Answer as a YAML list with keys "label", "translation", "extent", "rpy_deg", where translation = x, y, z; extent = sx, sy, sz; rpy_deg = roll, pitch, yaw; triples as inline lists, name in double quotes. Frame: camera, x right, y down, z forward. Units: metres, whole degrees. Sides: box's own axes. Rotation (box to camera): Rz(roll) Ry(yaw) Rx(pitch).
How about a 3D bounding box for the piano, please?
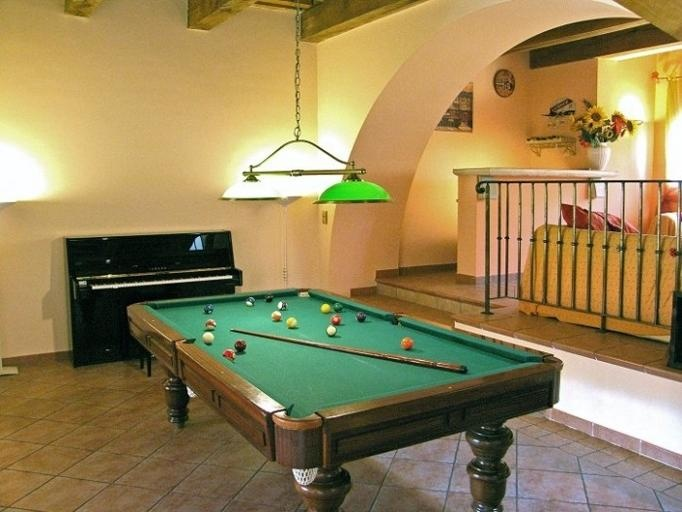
- label: "piano"
  translation: [-2.042, 0.458, 6.318]
  extent: [1.879, 1.389, 0.598]
  rpy_deg: [-4, -3, -3]

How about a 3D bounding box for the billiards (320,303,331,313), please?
- label: "billiards"
  translation: [-0.122, 0.417, 4.496]
  extent: [0.068, 0.049, 0.069]
  rpy_deg: [26, 33, 36]

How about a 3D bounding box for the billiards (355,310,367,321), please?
- label: "billiards"
  translation: [0.152, 0.438, 4.232]
  extent: [0.068, 0.043, 0.065]
  rpy_deg: [0, -2, -33]

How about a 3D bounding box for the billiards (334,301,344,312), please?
- label: "billiards"
  translation: [-0.017, 0.400, 4.506]
  extent: [0.059, 0.043, 0.063]
  rpy_deg: [5, 9, 35]

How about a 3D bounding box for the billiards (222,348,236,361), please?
- label: "billiards"
  translation: [-0.687, 0.608, 3.502]
  extent: [0.074, 0.057, 0.057]
  rpy_deg: [-15, 19, -36]

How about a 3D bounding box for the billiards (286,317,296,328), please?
- label: "billiards"
  translation: [-0.365, 0.479, 4.113]
  extent: [0.072, 0.063, 0.067]
  rpy_deg: [-7, 4, -6]

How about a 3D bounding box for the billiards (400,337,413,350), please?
- label: "billiards"
  translation: [0.418, 0.553, 3.590]
  extent: [0.078, 0.074, 0.068]
  rpy_deg: [-9, 8, 6]

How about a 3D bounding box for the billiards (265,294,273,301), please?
- label: "billiards"
  translation: [-0.623, 0.366, 4.910]
  extent: [0.048, 0.047, 0.056]
  rpy_deg: [1, -7, -12]

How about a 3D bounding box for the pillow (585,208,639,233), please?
- label: "pillow"
  translation: [2.633, -0.327, 5.504]
  extent: [0.515, 0.138, 0.477]
  rpy_deg: [7, 8, 35]

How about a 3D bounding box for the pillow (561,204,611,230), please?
- label: "pillow"
  translation: [2.324, -0.330, 5.335]
  extent: [0.381, 0.117, 0.413]
  rpy_deg: [5, 14, -9]

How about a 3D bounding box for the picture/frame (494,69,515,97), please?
- label: "picture/frame"
  translation: [2.587, -2.765, 8.961]
  extent: [0.487, 0.422, 0.066]
  rpy_deg: [-9, 10, -36]

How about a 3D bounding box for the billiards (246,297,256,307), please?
- label: "billiards"
  translation: [-0.767, 0.390, 4.796]
  extent: [0.064, 0.044, 0.078]
  rpy_deg: [3, -2, -6]

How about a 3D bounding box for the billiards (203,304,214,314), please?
- label: "billiards"
  translation: [-1.081, 0.418, 4.573]
  extent: [0.071, 0.075, 0.077]
  rpy_deg: [11, 13, 10]

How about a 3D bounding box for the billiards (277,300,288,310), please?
- label: "billiards"
  translation: [-0.468, 0.396, 4.531]
  extent: [0.076, 0.050, 0.065]
  rpy_deg: [-1, 7, -13]

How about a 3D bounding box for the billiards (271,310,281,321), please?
- label: "billiards"
  translation: [-0.481, 0.453, 4.314]
  extent: [0.070, 0.066, 0.072]
  rpy_deg: [-12, 4, -40]

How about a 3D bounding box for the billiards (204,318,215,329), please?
- label: "billiards"
  translation: [-0.947, 0.498, 4.103]
  extent: [0.071, 0.065, 0.064]
  rpy_deg: [-7, 32, -30]

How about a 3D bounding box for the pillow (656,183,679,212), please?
- label: "pillow"
  translation: [5.453, -0.971, 9.349]
  extent: [0.218, 0.447, 0.662]
  rpy_deg: [5, 13, 25]

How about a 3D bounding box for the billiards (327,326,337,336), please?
- label: "billiards"
  translation: [-0.066, 0.511, 3.893]
  extent: [0.061, 0.059, 0.063]
  rpy_deg: [-15, 2, -6]

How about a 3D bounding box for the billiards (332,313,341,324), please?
- label: "billiards"
  translation: [-0.017, 0.460, 4.161]
  extent: [0.063, 0.065, 0.059]
  rpy_deg: [-1, 34, -23]
